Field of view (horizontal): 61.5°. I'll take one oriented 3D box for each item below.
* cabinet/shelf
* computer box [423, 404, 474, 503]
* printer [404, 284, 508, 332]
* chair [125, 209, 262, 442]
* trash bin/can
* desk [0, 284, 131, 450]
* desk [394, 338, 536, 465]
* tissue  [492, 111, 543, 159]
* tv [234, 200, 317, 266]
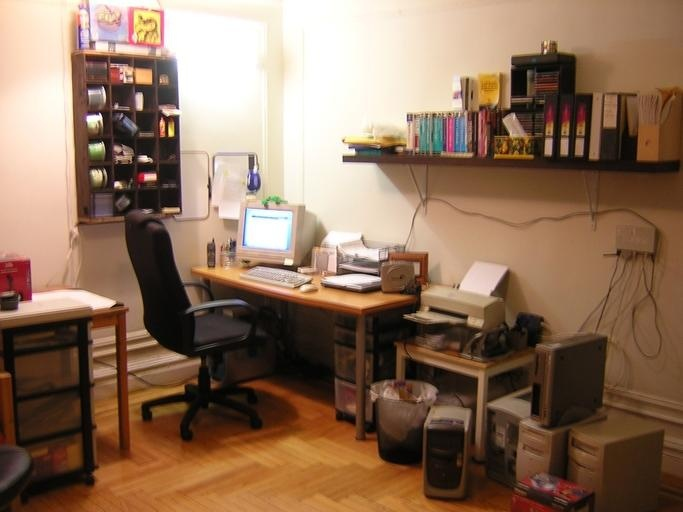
[{"bbox_3d":[-1.510,-0.835,4.070,0.749,1.176,0.274,-6,14,-26],"label":"cabinet/shelf"},{"bbox_3d":[0.615,1.123,3.368,0.250,0.462,0.432,2,11,11],"label":"computer box"},{"bbox_3d":[0.690,0.341,3.688,0.493,0.252,0.667,-4,4,-30],"label":"printer"},{"bbox_3d":[-0.977,0.444,3.989,0.875,1.489,0.773,-5,12,-31],"label":"chair"},{"bbox_3d":[0.375,1.063,3.600,0.398,0.421,0.430,3,-9,-1],"label":"trash bin/can"},{"bbox_3d":[-1.653,0.632,3.829,0.802,1.038,1.061,-8,12,-44],"label":"desk"},{"bbox_3d":[0.826,0.757,3.757,0.729,0.718,0.729,-5,10,-42],"label":"desk"},{"bbox_3d":[1.063,-0.722,3.472,0.231,0.235,0.137,6,33,27],"label":"tissue "},{"bbox_3d":[-0.488,-0.187,4.556,0.488,0.519,0.522,7,12,28],"label":"tv"}]
